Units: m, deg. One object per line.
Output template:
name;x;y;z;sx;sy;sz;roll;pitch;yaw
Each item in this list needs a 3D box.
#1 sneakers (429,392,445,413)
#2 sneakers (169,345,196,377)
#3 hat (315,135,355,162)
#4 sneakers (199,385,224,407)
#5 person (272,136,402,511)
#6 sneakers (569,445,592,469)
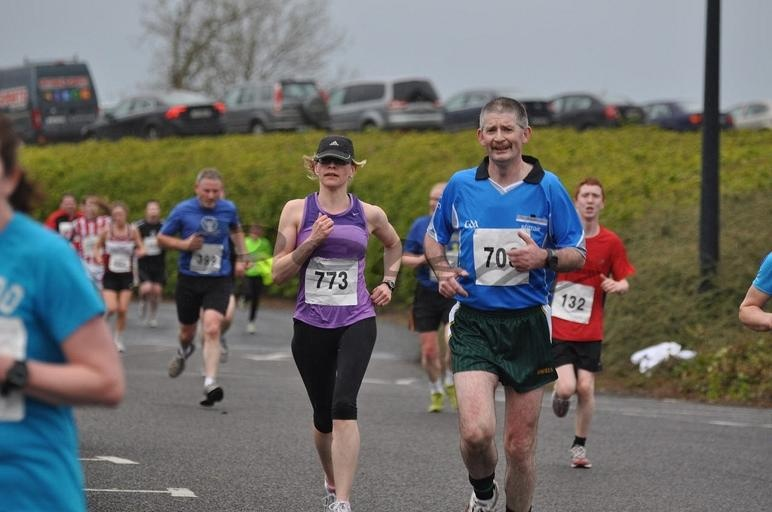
sneakers;0.554;1.605;10.716;0.159;0.204;0.465;-1;-7;4
sneakers;-1.972;0.996;9.405;0.108;0.149;0.352;36;22;-10
hat;-0.344;-0.764;7.264;0.264;0.193;0.434;7;-2;0
sneakers;-1.668;1.345;9.370;0.112;0.199;0.288;7;-1;5
person;-0.411;0.494;7.172;0.786;2.692;1.256;1;10;11
sneakers;1.663;1.716;8.390;0.107;0.112;0.246;0;-5;-1
